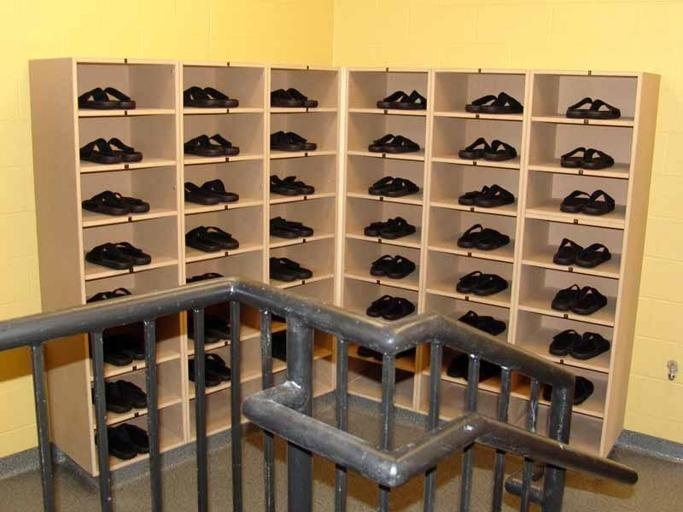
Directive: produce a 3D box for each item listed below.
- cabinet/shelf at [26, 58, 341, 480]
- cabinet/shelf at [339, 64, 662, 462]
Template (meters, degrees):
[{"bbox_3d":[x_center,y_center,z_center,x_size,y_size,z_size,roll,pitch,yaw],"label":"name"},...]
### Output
[{"bbox_3d":[-1.039,-0.100,3.765,0.712,2.788,2.041,5,0,45],"label":"cabinet/shelf"},{"bbox_3d":[1.053,-0.097,4.042,2.053,2.659,0.933,5,0,30],"label":"cabinet/shelf"}]
